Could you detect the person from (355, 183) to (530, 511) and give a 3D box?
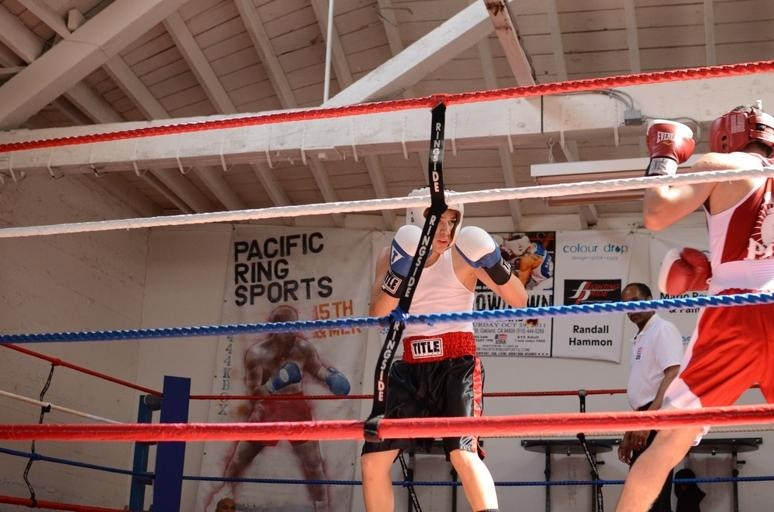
[{"bbox_3d":[0.272,0.419,3.824,0.793,1.660,0.701,-1,-18,14],"label":"person"}]

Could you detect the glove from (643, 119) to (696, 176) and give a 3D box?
[{"bbox_3d":[1.288,-0.492,3.532,0.227,0.346,0.137,1,-27,26],"label":"glove"}]

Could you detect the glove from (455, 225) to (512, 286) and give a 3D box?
[{"bbox_3d":[0.482,-0.007,3.848,0.217,0.123,0.311,-4,-50,48],"label":"glove"}]

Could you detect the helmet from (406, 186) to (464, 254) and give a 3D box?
[{"bbox_3d":[0.308,-0.208,4.092,0.362,0.355,0.412,9,-13,2],"label":"helmet"}]
